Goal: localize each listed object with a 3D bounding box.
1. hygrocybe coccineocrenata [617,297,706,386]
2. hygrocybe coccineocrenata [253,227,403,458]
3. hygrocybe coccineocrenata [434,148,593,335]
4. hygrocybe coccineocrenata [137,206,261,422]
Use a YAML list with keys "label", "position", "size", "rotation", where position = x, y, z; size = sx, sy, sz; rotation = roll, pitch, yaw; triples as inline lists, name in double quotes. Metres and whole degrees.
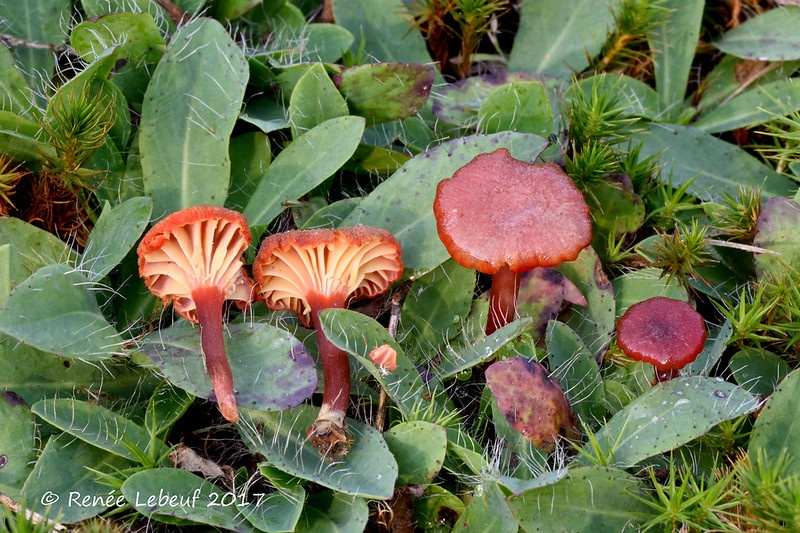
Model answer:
- label: "hygrocybe coccineocrenata"
  position: [0.561, 0.190, 1.679]
  size: [0.175, 0.175, 0.195]
  rotation: [8, 49, 19]
- label: "hygrocybe coccineocrenata"
  position: [-0.159, 0.134, 1.641]
  size: [0.290, 0.290, 0.478]
  rotation: [-13, 71, 41]
- label: "hygrocybe coccineocrenata"
  position: [0.219, -0.112, 1.738]
  size: [0.264, 0.359, 0.296]
  rotation: [-8, 56, -9]
- label: "hygrocybe coccineocrenata"
  position: [-0.376, 0.045, 1.511]
  size: [0.213, 0.199, 0.410]
  rotation: [-13, 28, -11]
